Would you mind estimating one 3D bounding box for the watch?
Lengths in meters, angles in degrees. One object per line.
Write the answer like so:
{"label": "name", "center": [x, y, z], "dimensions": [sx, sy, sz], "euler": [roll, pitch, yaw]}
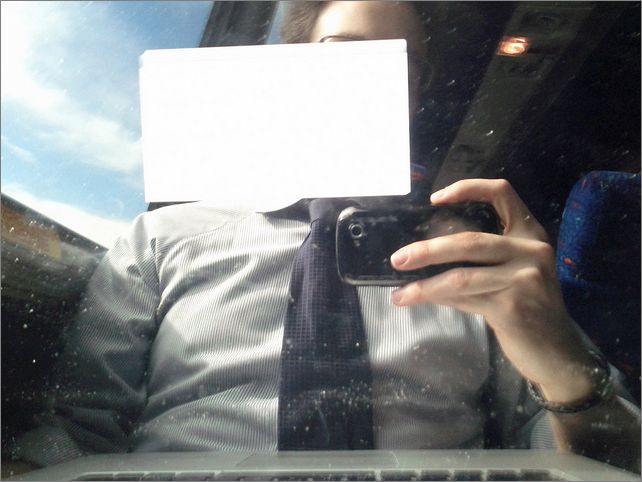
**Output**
{"label": "watch", "center": [0.436, 0.243, 0.975], "dimensions": [0.109, 0.033, 0.121], "euler": [-4, 42, 19]}
